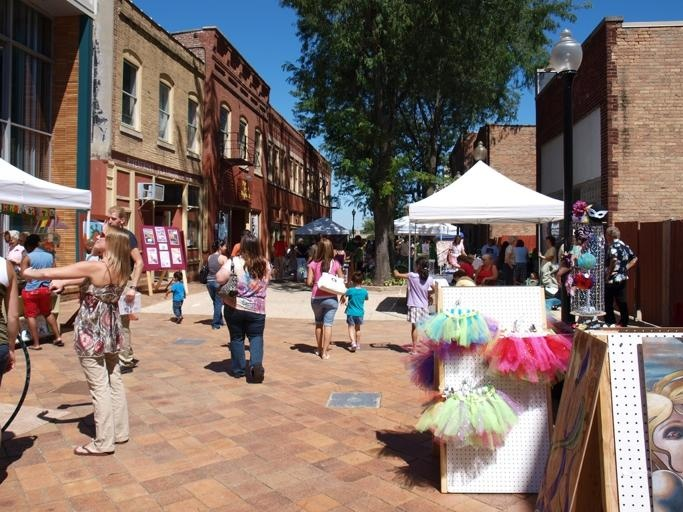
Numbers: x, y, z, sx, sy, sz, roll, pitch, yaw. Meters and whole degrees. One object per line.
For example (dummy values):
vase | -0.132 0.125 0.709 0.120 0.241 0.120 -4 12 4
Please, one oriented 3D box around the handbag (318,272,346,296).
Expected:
handbag | -0.186 0.482 9.365 0.251 0.289 0.121 18 -41 -15

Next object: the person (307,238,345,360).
person | -0.276 0.728 9.714 0.610 1.997 0.825 0 5 -1

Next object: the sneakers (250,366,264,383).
sneakers | -1.157 1.651 7.963 0.102 0.315 0.132 -1 2 -2

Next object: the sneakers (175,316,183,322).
sneakers | -3.606 1.445 12.864 0.056 0.137 0.109 -1 11 -43

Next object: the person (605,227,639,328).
person | 5.224 0.442 10.947 0.492 1.853 1.074 3 6 25

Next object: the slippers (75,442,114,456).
slippers | -2.477 1.972 5.772 0.275 0.126 0.172 7 -4 3

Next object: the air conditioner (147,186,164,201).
air conditioner | -6.019 -2.015 18.762 0.329 0.578 0.700 -1 -2 5

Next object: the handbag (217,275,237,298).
handbag | -1.570 0.426 7.904 0.239 0.323 0.202 0 0 7

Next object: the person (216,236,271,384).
person | -1.367 0.761 8.103 0.636 2.037 0.464 1 5 9

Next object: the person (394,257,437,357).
person | 1.234 0.881 9.731 0.610 1.734 1.789 1 6 8

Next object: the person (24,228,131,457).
person | -2.515 0.863 5.854 0.736 2.250 0.542 -2 6 -24

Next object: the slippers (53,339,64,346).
slippers | -4.921 1.528 10.095 0.082 0.160 0.227 -2 5 -44
